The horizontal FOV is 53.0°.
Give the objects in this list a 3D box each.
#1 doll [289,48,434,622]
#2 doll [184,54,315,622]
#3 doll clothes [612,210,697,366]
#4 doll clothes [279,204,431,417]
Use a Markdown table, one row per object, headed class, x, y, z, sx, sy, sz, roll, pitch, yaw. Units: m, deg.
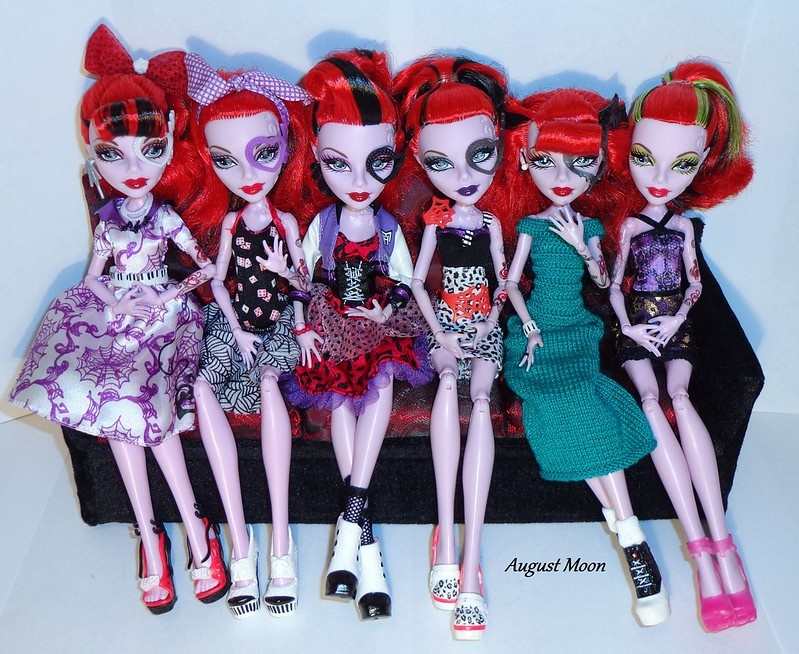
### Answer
| class | x | y | z | sx | sy | sz | roll | pitch | yaw |
| --- | --- | --- | --- | --- | --- | --- | --- | --- | --- |
| doll | -0.202 | -0.026 | 3.825 | 0.695 | 2.566 | 0.979 | 0 | -4 | -3 |
| doll | -0.483 | 0.014 | 3.698 | 0.609 | 2.454 | 1.045 | 1 | -12 | -6 |
| doll clothes | 1.256 | -0.053 | 3.897 | 0.326 | 1.061 | 0.273 | 0 | 1 | 19 |
| doll clothes | -0.184 | -0.093 | 3.851 | 0.650 | 1.144 | 0.382 | 4 | -27 | 1 |
